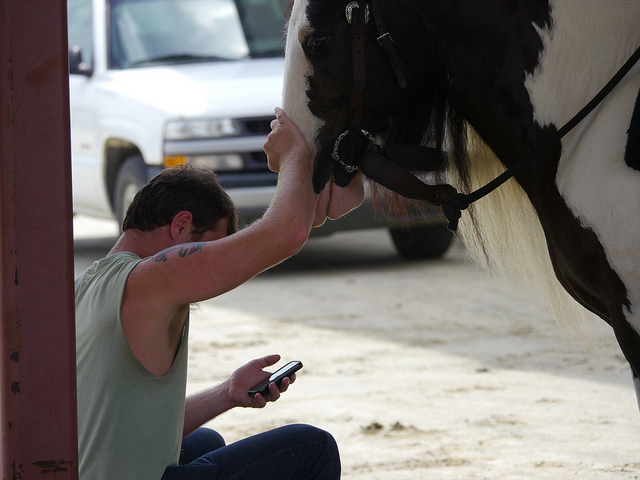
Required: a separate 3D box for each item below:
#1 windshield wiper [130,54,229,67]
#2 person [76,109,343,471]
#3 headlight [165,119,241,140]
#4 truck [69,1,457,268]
[{"bbox_3d":[-0.883,-1.123,8.867,0.568,0.057,0.061,-3,13,-10],"label":"windshield wiper"},{"bbox_3d":[-0.427,0.221,5.187,0.917,1.327,0.627,-3,13,-10],"label":"person"},{"bbox_3d":[-0.706,-0.664,8.570,0.450,0.102,0.064,-3,13,-7],"label":"headlight"},{"bbox_3d":[-0.887,-0.829,9.445,1.405,1.344,2.385,-3,5,-29],"label":"truck"}]
